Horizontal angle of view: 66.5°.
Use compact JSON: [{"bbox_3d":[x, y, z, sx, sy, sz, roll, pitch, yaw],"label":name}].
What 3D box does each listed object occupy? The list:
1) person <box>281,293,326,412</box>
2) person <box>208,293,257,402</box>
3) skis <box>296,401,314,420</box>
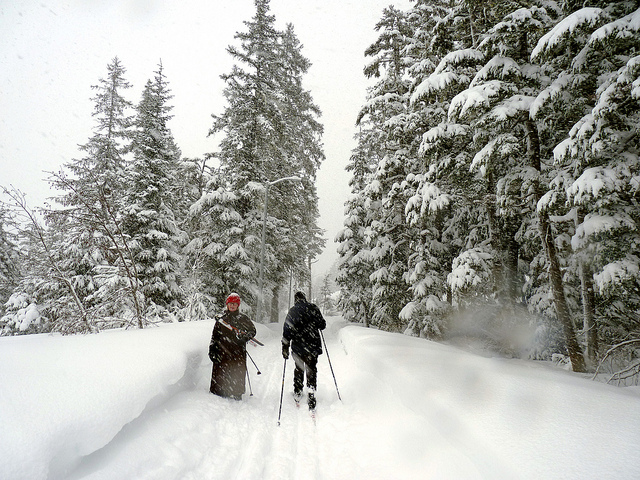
[{"bbox_3d":[-0.441,3.153,14.138,1.163,3.322,0.714,-2,-9,-1],"label":"person"},{"bbox_3d":[-2.554,3.038,13.976,1.200,3.007,0.451,1,-10,-14],"label":"person"},{"bbox_3d":[-0.383,4.770,13.588,0.671,0.297,0.199,-12,-14,37],"label":"skis"}]
